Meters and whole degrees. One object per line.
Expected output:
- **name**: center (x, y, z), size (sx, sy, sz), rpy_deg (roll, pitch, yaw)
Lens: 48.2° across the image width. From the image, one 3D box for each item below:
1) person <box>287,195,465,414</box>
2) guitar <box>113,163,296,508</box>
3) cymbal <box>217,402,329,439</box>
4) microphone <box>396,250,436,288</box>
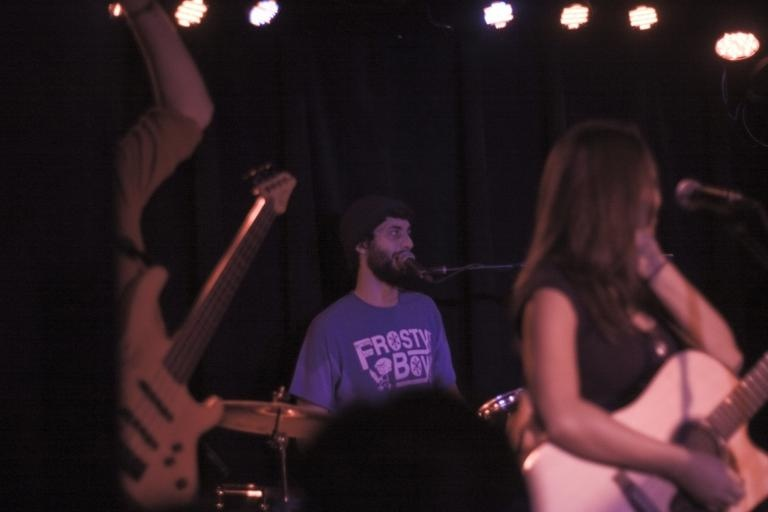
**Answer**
- **person**: center (-0.076, 0.260, 4.479), size (1.008, 1.375, 0.418), rpy_deg (2, -10, -28)
- **guitar**: center (-0.903, 0.418, 4.544), size (0.638, 1.836, 0.265), rpy_deg (25, 3, 9)
- **cymbal**: center (-0.516, 0.768, 4.326), size (0.467, 0.113, 0.482), rpy_deg (10, 4, -13)
- **microphone**: center (0.159, 0.071, 4.521), size (0.102, 0.126, 0.323), rpy_deg (-11, -13, 1)
